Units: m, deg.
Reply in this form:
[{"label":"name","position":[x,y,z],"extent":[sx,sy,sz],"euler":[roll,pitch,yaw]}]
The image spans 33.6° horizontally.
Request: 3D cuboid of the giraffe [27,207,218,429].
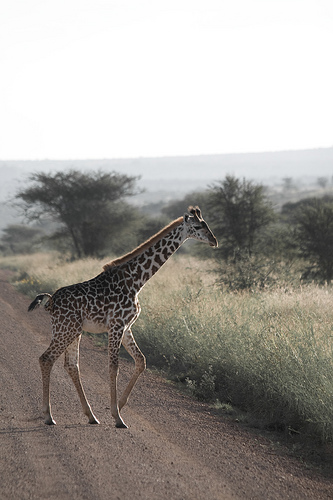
[{"label":"giraffe","position":[-0.577,0.817,7.878],"extent":[1.938,3.058,2.428],"euler":[9,6,18]}]
